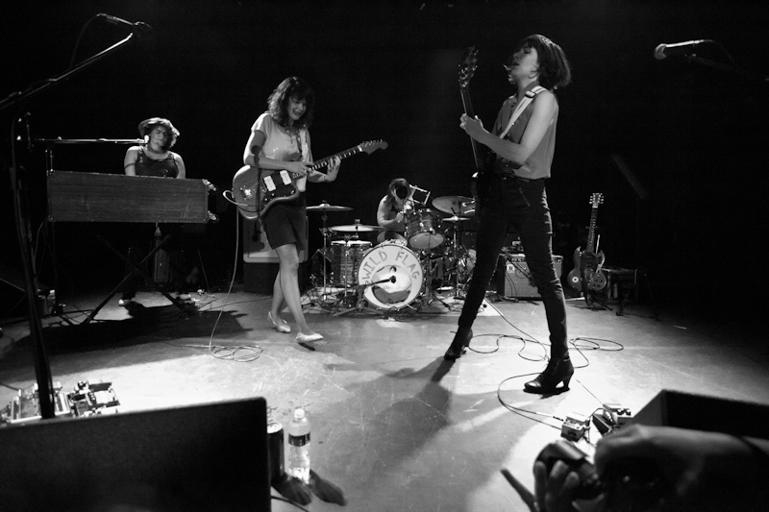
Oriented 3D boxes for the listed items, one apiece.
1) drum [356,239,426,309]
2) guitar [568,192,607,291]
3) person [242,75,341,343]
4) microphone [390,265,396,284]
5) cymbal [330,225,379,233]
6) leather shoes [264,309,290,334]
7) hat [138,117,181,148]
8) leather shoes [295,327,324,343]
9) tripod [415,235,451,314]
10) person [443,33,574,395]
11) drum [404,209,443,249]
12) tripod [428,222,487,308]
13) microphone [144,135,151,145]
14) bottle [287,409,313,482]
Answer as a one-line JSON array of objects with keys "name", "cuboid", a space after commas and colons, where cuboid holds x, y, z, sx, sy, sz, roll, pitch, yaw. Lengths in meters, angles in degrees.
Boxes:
[{"name": "drum", "cuboid": [0.085, 0.211, 6.116, 0.764, 0.793, 0.301, -2, 2, 0]}, {"name": "guitar", "cuboid": [2.634, -0.182, 7.277, 0.372, 1.281, 1.584, 7, 10, 19]}, {"name": "person", "cuboid": [-0.849, -0.432, 5.160, 0.842, 2.328, 0.665, 6, 9, 11]}, {"name": "microphone", "cuboid": [0.103, 0.194, 6.018, 0.084, 0.142, 0.077, 5, 2, 2]}, {"name": "cymbal", "cuboid": [-0.369, -0.337, 6.816, 0.260, 0.058, 0.274, -4, -1, 42]}, {"name": "leather shoes", "cuboid": [-1.032, 0.643, 5.442, 0.118, 0.155, 0.359, 4, -2, -35]}, {"name": "hat", "cuboid": [-2.458, -1.372, 6.164, 0.366, 0.293, 0.402, 0, 10, -26]}, {"name": "leather shoes", "cuboid": [-0.632, 0.716, 5.050, 0.313, 0.122, 0.095, -13, -24, 22]}, {"name": "tripod", "cuboid": [0.603, 0.280, 6.767, 0.679, 0.767, 0.711, -1, -2, -2]}, {"name": "person", "cuboid": [1.034, -0.352, 4.210, 1.018, 2.570, 0.591, 8, 10, 25]}, {"name": "drum", "cuboid": [0.447, -0.281, 6.305, 0.418, 0.503, 0.448, 3, 9, -6]}, {"name": "tripod", "cuboid": [0.941, 0.066, 7.424, 0.966, 1.295, 1.304, 2, -1, 4]}, {"name": "microphone", "cuboid": [-2.429, -1.201, 5.784, 0.052, 0.097, 0.971, 0, 10, -23]}, {"name": "bottle", "cuboid": [-0.500, 1.087, 3.368, 0.139, 0.392, 0.349, 3, 9, -9]}]
